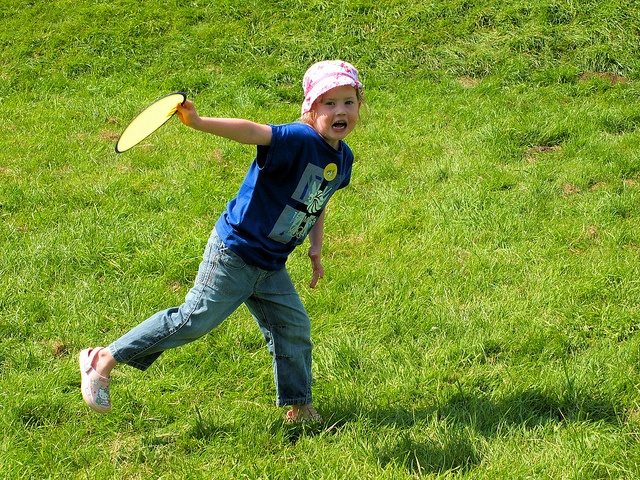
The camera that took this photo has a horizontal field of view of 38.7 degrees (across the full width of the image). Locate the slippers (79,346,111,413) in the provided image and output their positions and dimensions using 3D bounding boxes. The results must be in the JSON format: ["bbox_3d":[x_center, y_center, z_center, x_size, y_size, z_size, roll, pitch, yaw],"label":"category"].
[{"bbox_3d":[-1.936,1.219,7.963,0.215,0.607,0.228,-10,-2,24],"label":"slippers"}]

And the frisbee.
[{"bbox_3d":[-1.409,-0.986,7.614,0.641,0.443,0.232,2,21,20],"label":"frisbee"}]
